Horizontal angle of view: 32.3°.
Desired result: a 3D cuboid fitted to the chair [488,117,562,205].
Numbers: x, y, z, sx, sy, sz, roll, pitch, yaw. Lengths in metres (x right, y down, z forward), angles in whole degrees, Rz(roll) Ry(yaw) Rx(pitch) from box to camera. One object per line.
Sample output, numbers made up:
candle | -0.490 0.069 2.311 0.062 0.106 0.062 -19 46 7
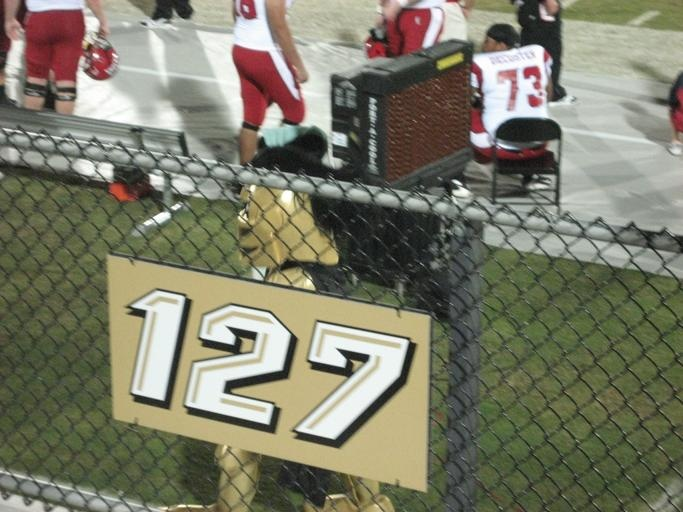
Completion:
chair | 1.218 -0.611 7.749 0.401 0.502 0.672 0 93 8

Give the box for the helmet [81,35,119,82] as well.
helmet | -1.888 -1.557 9.209 0.226 0.143 0.382 -36 98 -4

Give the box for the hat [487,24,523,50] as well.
hat | 1.194 -1.614 8.645 0.217 0.166 0.158 29 41 5
